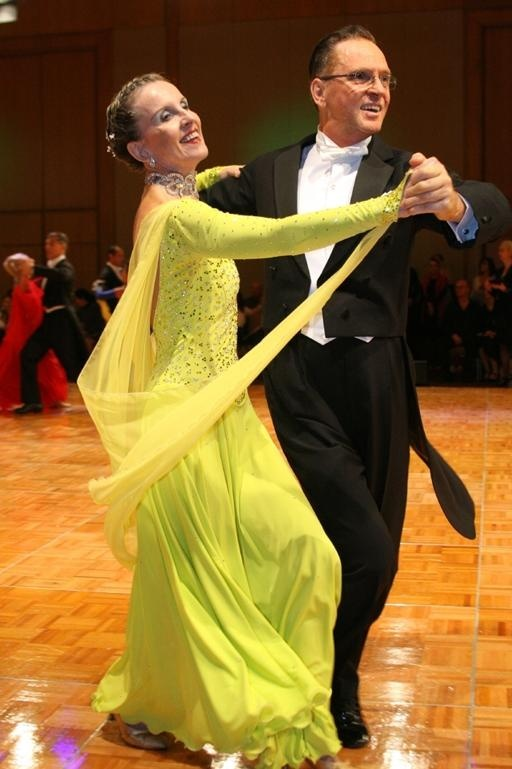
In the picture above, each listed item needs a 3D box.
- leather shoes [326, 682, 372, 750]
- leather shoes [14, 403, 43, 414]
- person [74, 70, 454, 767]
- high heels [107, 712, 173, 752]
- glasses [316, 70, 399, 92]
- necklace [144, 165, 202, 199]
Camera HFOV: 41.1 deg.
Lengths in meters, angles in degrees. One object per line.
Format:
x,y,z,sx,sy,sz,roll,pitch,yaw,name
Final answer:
0.205,0.725,1.502,0.068,0.121,0.187,2,-2,-5,leather shoes
-2.592,0.271,7.841,0.356,0.132,0.112,4,2,-2,leather shoes
-0.032,0.213,1.401,0.785,1.152,0.400,-1,-2,42,person
-0.263,0.773,1.508,0.128,0.041,0.071,19,5,9,high heels
0.232,-0.704,1.590,0.099,0.026,0.096,-4,7,-26,glasses
-0.179,-0.427,1.477,0.096,0.046,0.078,-5,6,14,necklace
